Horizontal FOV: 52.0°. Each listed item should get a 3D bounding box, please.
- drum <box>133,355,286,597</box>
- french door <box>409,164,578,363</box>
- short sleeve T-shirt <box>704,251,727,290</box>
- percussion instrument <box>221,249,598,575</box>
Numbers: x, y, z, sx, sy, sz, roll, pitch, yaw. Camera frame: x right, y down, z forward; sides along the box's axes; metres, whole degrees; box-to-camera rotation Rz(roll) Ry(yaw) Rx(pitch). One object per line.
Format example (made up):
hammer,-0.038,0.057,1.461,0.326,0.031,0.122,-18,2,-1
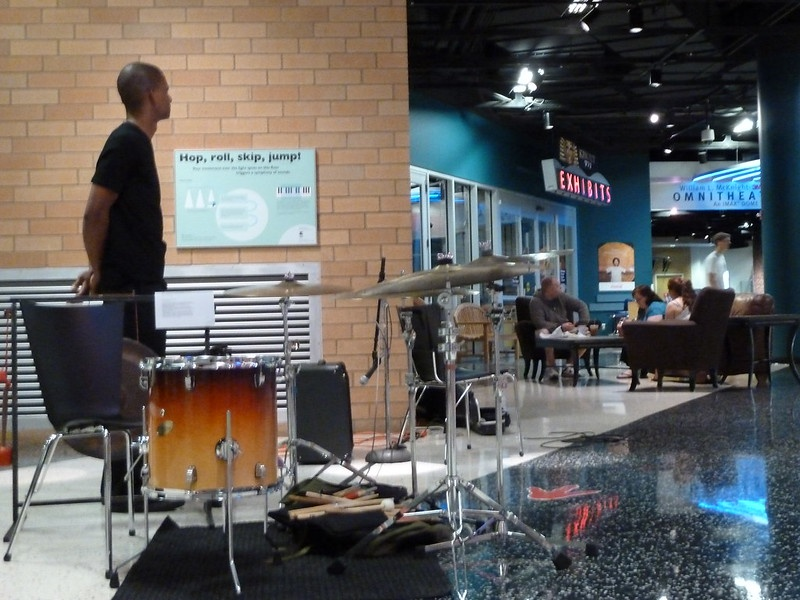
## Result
drum,-0.855,0.746,3.864,0.619,1.031,0.576,-1,0,0
french door,1.149,-0.582,10.422,0.162,2.127,3.698,1,0,38
short sleeve T-shirt,3.939,-0.380,10.228,0.201,0.478,0.438,6,18,38
percussion instrument,0.133,0.476,4.369,1.454,1.544,1.699,4,1,-9
